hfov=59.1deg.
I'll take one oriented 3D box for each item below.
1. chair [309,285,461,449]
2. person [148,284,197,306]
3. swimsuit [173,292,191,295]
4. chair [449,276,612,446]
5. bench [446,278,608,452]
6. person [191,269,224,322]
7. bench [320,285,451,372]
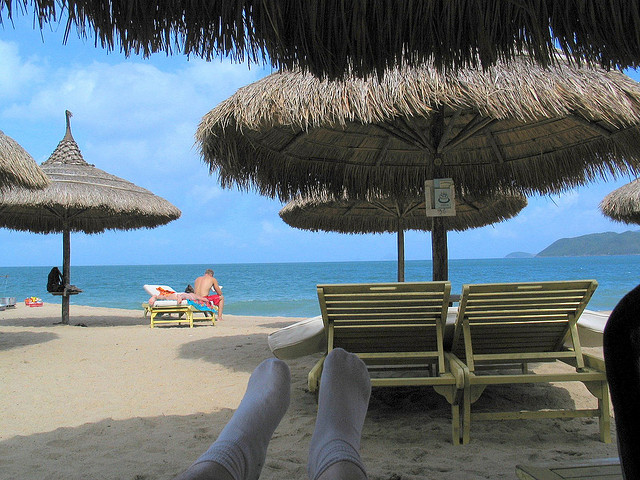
[{"bbox_3d":[0.496,0.692,3.966,0.671,0.769,1.282,0,0,4],"label":"chair"},{"bbox_3d":[-2.701,1.026,10.239,0.712,0.216,0.506,-4,2,0],"label":"person"},{"bbox_3d":[-2.604,0.988,10.507,0.243,0.023,0.548,-3,1,-22],"label":"swimsuit"},{"bbox_3d":[1.416,0.758,4.349,0.919,1.034,1.728,-1,0,4],"label":"chair"},{"bbox_3d":[1.525,0.806,4.370,0.782,0.935,1.516,0,0,7],"label":"bench"},{"bbox_3d":[-2.243,1.118,11.352,0.549,1.135,0.704,2,2,8],"label":"person"},{"bbox_3d":[0.469,0.659,4.454,0.940,0.686,1.664,-1,-2,3],"label":"bench"}]
